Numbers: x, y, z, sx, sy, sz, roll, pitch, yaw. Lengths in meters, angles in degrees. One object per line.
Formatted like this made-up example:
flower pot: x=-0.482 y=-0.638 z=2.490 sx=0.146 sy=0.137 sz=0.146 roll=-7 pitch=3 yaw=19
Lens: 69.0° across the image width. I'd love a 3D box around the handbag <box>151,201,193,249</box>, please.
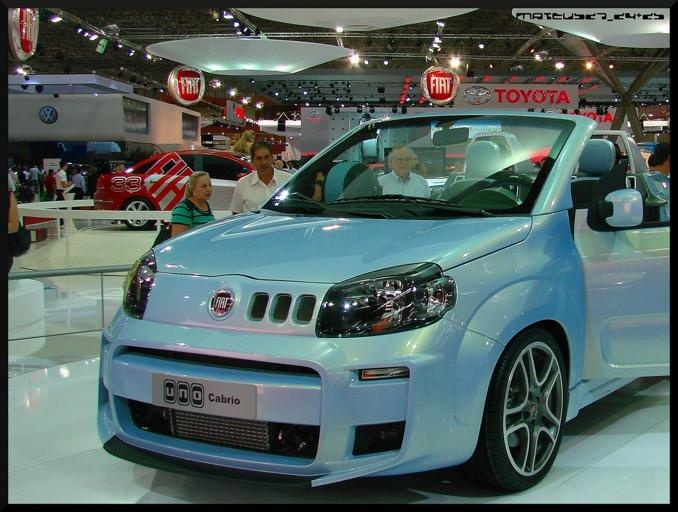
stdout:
handbag: x=-1.434 y=-0.251 z=4.500 sx=0.232 sy=0.407 sz=0.297 roll=-13 pitch=22 yaw=-37
